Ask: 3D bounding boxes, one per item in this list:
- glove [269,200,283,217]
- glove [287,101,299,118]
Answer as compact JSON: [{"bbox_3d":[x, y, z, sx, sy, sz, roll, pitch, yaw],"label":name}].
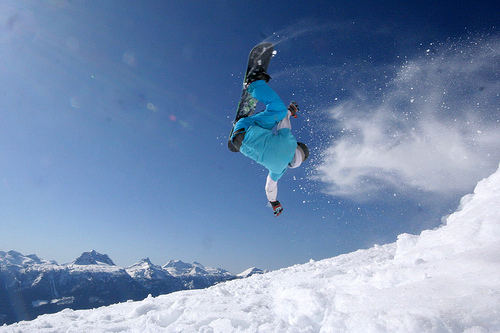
[{"bbox_3d":[0.603,0.973,9.140,0.300,0.291,0.323,10,-4,5],"label":"glove"},{"bbox_3d":[0.983,-1.268,8.508,0.248,0.284,0.242,12,-4,-24],"label":"glove"}]
